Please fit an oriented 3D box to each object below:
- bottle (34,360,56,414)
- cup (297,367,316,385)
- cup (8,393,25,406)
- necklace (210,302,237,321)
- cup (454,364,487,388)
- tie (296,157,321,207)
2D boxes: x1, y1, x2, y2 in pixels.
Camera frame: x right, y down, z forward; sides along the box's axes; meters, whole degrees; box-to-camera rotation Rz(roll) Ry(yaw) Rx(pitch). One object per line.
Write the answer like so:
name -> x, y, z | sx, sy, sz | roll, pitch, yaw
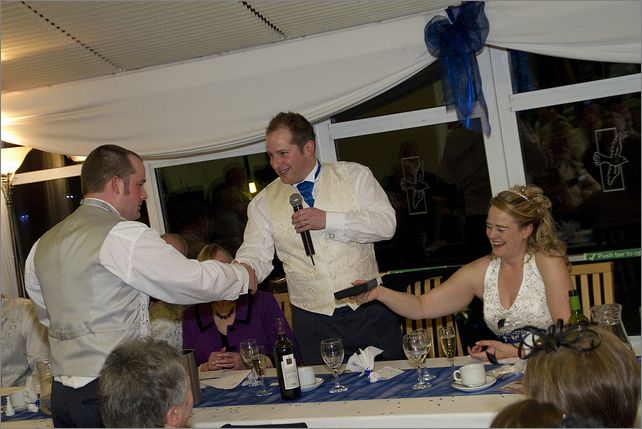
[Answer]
bottle -> -1.543, 0.996, 2.704 | 0.124, 0.314, 0.125 | -4, -4, 0
cup -> -0.070, 0.854, 2.491 | 0.071, 0.059, 0.076 | -5, -2, 0
cup -> -1.823, 1.110, 2.841 | 0.074, 0.071, 0.078 | -1, 2, 0
necklace -> -0.683, 0.675, 3.338 | 0.129, 0.146, 0.042 | -2, -2, 16
cup -> 0.698, 0.746, 2.204 | 0.119, 0.084, 0.094 | -9, -8, 15
tie -> -0.083, -0.214, 3.068 | 0.166, 0.250, 0.085 | -6, -5, 0
